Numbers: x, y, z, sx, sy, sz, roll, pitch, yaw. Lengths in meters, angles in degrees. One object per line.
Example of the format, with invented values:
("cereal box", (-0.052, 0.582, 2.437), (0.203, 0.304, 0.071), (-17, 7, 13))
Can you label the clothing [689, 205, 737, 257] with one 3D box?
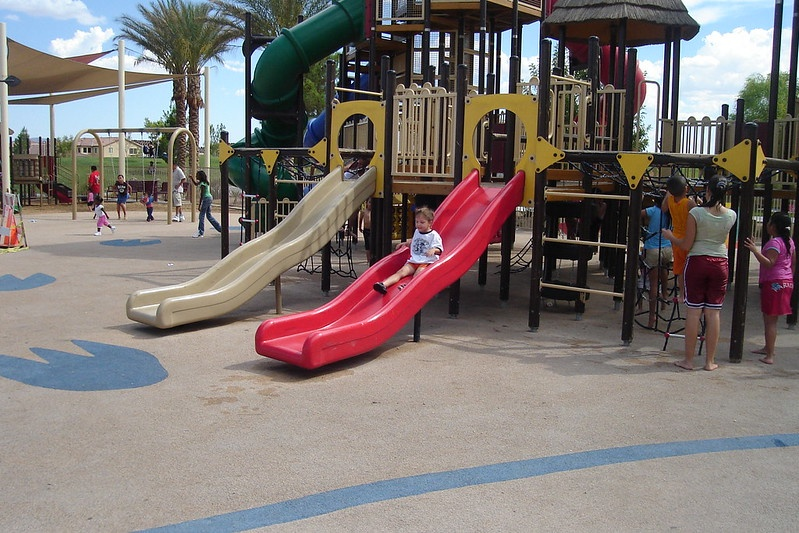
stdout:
("clothing", (3.927, -0.418, 8.635), (0.670, 0.649, 0.373), (4, -3, -16))

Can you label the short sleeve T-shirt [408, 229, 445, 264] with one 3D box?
("short sleeve T-shirt", (0.384, -0.274, 9.756), (0.457, 0.458, 0.285), (10, 5, 38))

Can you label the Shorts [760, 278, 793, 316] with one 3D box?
("Shorts", (4.940, 0.397, 8.891), (0.338, 0.462, 0.281), (3, 7, 26))

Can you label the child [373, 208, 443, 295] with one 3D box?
("child", (0.241, -0.276, 9.723), (0.845, 1.138, 1.294), (5, 7, 35))

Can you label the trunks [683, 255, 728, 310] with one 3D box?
("trunks", (3.843, 0.193, 8.542), (0.486, 0.685, 0.267), (3, 7, 21))

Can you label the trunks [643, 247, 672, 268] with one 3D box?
("trunks", (4.108, -0.158, 10.776), (0.437, 0.374, 0.309), (-2, 11, -16))

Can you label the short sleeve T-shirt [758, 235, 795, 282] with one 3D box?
("short sleeve T-shirt", (5.024, -0.098, 9.008), (0.586, 0.548, 0.336), (26, -17, -38))
